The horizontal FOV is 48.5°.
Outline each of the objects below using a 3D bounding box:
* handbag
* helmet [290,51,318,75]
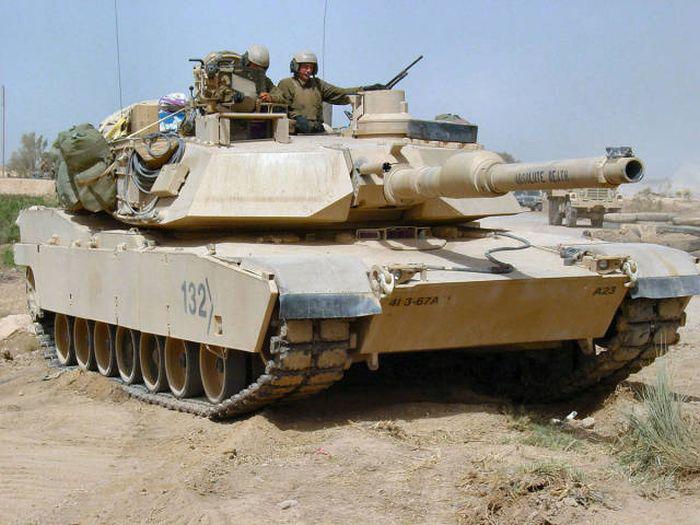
[{"bbox_3d":[-4.372,-1.493,12.870,0.794,1.444,1.318,0,1,-40],"label":"handbag"},{"bbox_3d":[-0.732,-3.208,12.506,0.391,0.347,0.393,-3,4,-8],"label":"helmet"}]
